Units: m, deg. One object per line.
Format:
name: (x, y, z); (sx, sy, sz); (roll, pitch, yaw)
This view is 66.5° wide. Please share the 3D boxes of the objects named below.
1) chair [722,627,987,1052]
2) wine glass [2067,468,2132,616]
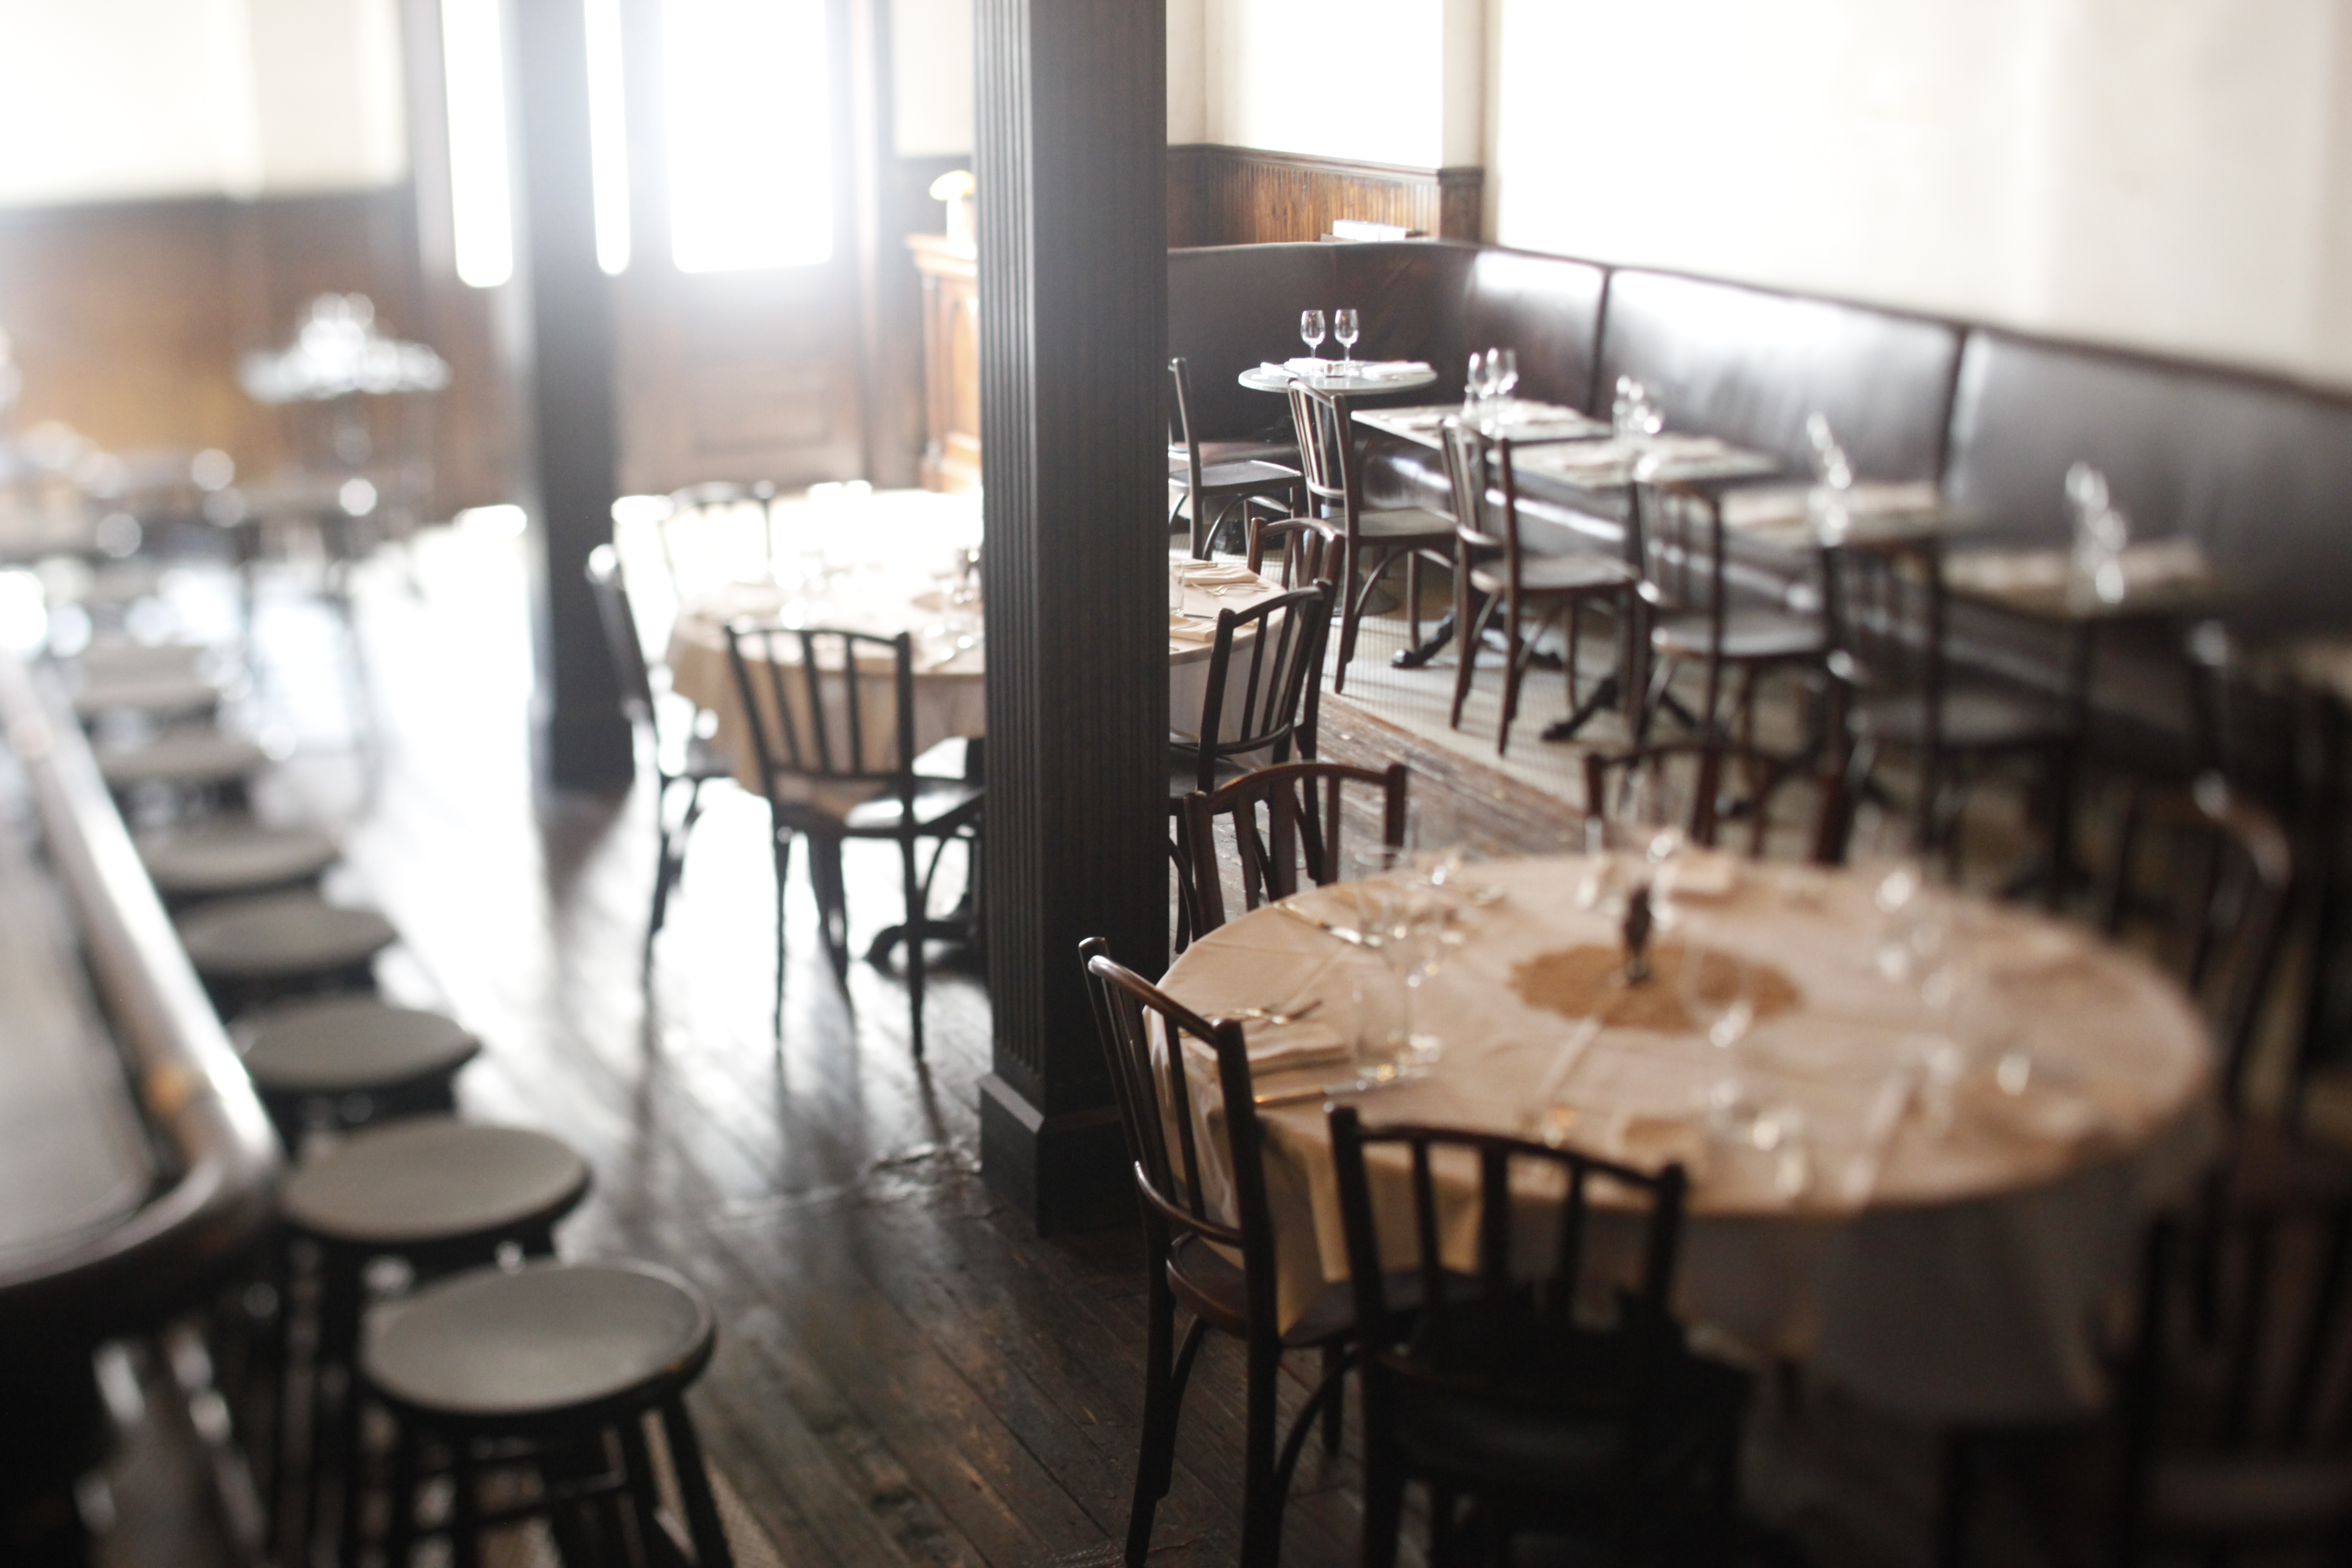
chair: (-0.699, 0.048, 3.869); (0.546, 0.920, 0.488); (6, 21, 27)
wine glass: (0.305, -0.079, 0.595); (0.018, 0.015, 0.054); (-13, 34, 32)
